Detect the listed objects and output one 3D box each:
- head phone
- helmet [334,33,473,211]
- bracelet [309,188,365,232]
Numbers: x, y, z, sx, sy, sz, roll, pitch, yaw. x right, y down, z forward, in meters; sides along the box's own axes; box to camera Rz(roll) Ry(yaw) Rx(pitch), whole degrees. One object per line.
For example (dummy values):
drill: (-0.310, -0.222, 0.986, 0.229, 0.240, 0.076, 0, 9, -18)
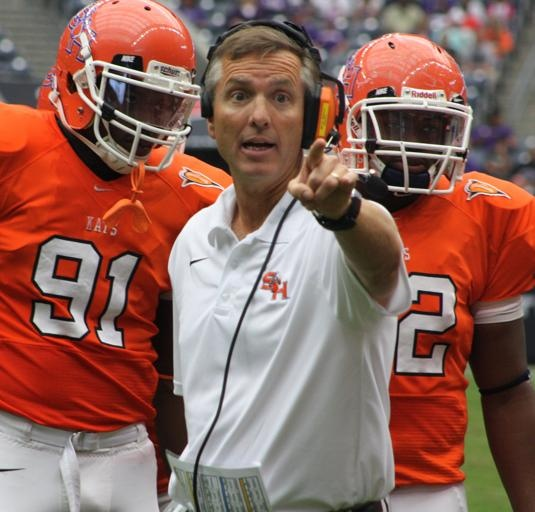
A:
head phone: (-0.004, -0.468, 2.315, 0.445, 0.351, 0.175, 3, -2, 9)
helmet: (0.453, -0.459, 2.670, 0.453, 0.513, 0.612, 1, 11, -5)
bracelet: (0.157, -0.103, 1.798, 0.090, 0.093, 0.111, 2, 13, 12)
